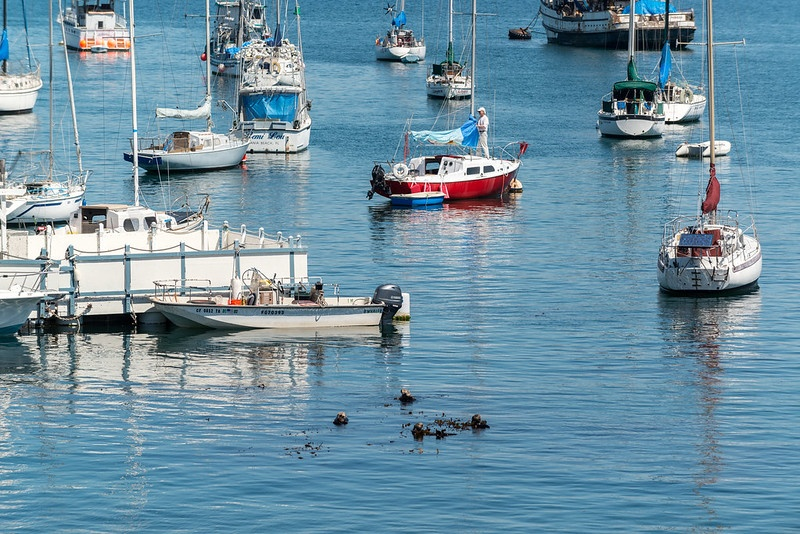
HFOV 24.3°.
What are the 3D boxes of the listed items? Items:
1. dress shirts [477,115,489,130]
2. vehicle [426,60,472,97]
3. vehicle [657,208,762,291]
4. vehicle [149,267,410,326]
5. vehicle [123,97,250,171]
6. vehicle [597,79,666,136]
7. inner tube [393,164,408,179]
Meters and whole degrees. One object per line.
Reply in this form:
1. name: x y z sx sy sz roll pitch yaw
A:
1. dress shirts: 5.841 -9.943 130.061 0.739 1.066 0.873 -1 11 -4
2. vehicle: 4.212 -17.930 176.958 3.440 2.163 7.207 3 13 21
3. vehicle: 18.461 -1.030 113.706 6.754 3.795 12.321 1 11 12
4. vehicle: -6.712 1.775 103.784 12.783 3.151 1.756 -1 12 -5
5. vehicle: -15.204 -9.747 138.507 3.911 4.933 10.646 9 12 40
6. vehicle: 19.396 -12.958 154.829 6.478 3.861 12.057 0 7 4
7. inner tube: 0.134 -6.605 129.152 0.930 0.944 0.425 -3 13 -17
